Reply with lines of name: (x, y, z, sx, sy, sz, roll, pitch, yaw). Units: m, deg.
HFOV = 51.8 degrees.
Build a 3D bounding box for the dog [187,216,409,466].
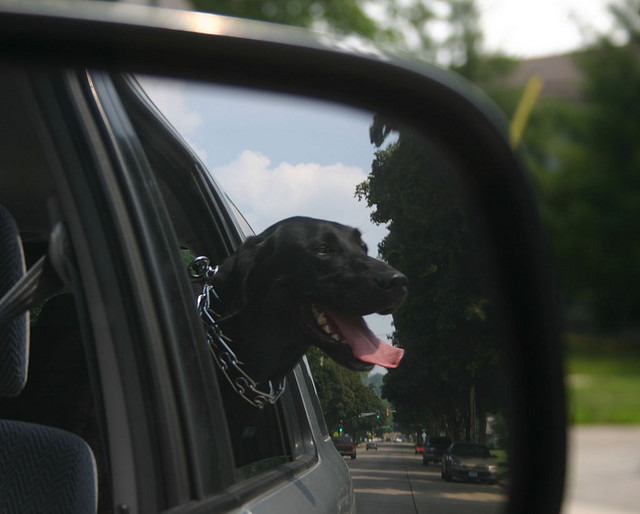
dog: (-0.289, 0.111, 2.069, 1.119, 0.545, 0.402, 7, 6, 27)
